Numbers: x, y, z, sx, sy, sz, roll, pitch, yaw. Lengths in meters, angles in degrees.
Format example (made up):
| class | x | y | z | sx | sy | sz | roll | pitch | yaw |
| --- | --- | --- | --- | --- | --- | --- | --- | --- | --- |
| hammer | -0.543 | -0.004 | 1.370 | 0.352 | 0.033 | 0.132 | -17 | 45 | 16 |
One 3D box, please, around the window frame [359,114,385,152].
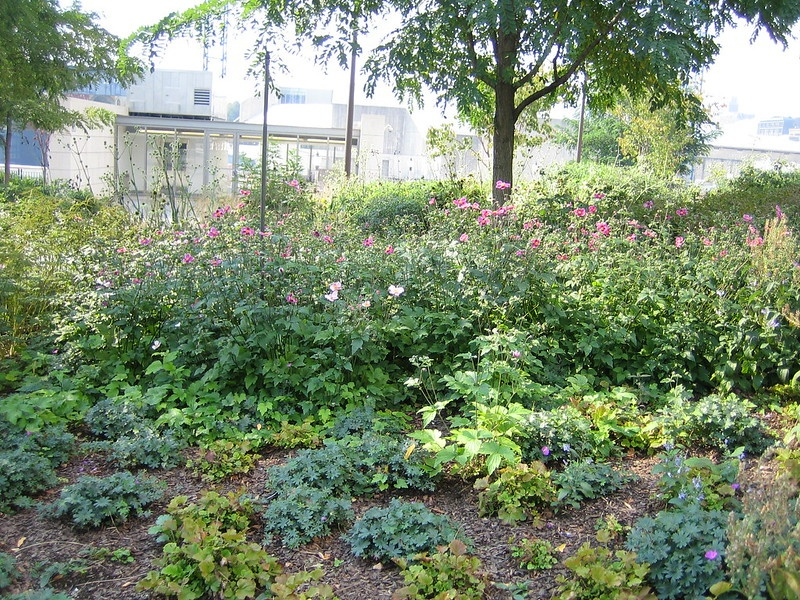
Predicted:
| class | x | y | z | sx | sy | sz | roll | pitch | yaw |
| --- | --- | --- | --- | --- | --- | --- | --- | --- | --- |
| window frame | -1.189 | -6.988 | 25.265 | 0.982 | 1.590 | 1.196 | 2 | 8 | -8 |
